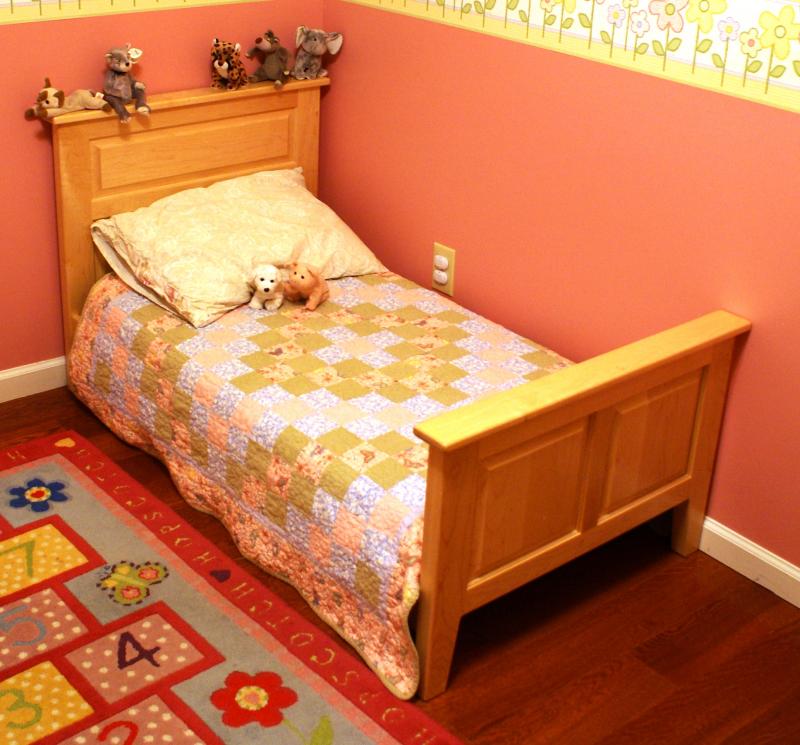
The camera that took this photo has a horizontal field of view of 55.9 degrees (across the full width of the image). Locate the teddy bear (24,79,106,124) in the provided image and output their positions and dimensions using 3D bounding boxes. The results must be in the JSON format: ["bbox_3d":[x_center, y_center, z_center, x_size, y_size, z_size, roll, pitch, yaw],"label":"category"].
[{"bbox_3d":[-1.125,-0.906,2.501,0.281,0.114,0.108,-19,48,-27],"label":"teddy bear"}]

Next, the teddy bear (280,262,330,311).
[{"bbox_3d":[-0.340,-0.312,2.636,0.141,0.134,0.183,33,40,16],"label":"teddy bear"}]

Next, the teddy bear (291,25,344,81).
[{"bbox_3d":[-0.358,-1.250,2.953,0.158,0.195,0.225,33,38,30],"label":"teddy bear"}]

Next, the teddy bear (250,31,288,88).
[{"bbox_3d":[-0.511,-1.203,2.881,0.180,0.204,0.130,6,36,3],"label":"teddy bear"}]

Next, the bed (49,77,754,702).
[{"bbox_3d":[-0.075,-0.145,2.523,1.266,0.967,2.061,-23,45,-36],"label":"bed"}]

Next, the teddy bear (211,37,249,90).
[{"bbox_3d":[-0.637,-1.136,2.780,0.149,0.162,0.112,19,39,14],"label":"teddy bear"}]

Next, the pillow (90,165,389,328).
[{"bbox_3d":[-0.544,-0.490,2.658,0.741,0.171,0.700,-22,53,-31],"label":"pillow"}]
